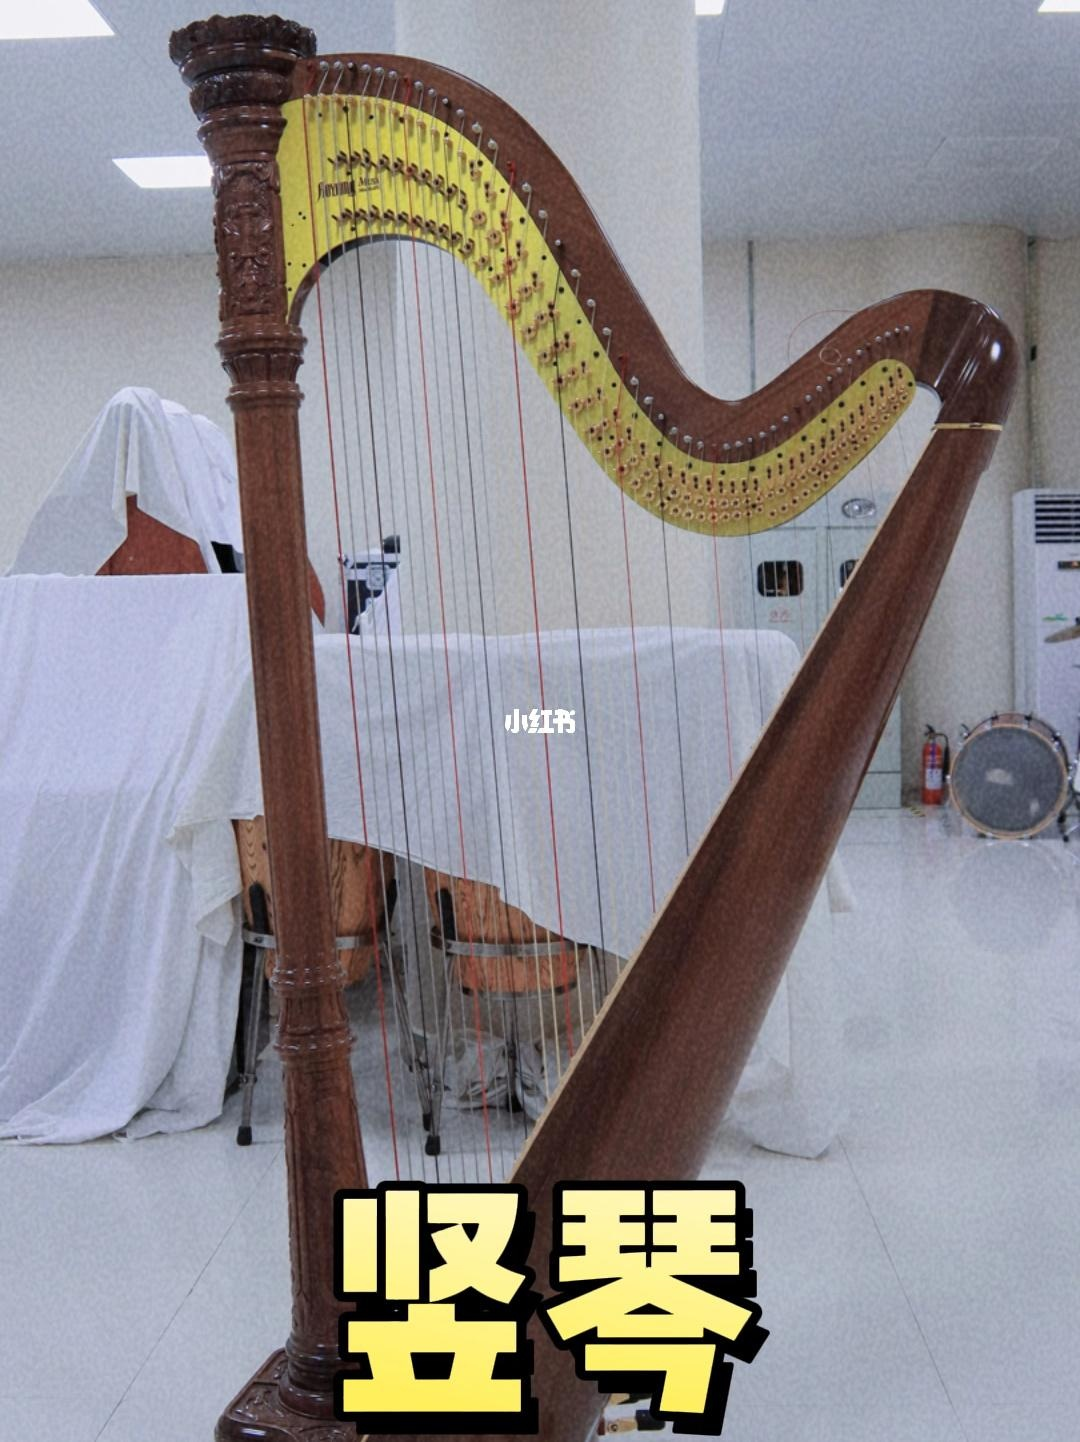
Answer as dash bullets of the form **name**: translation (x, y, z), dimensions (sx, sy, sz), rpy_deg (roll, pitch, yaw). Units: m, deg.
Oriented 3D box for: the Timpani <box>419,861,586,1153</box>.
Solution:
- **Timpani**: translation (-0.053, 0.471, 2.362), dimensions (0.274, 0.614, 0.303), rpy_deg (1, -3, 28)
